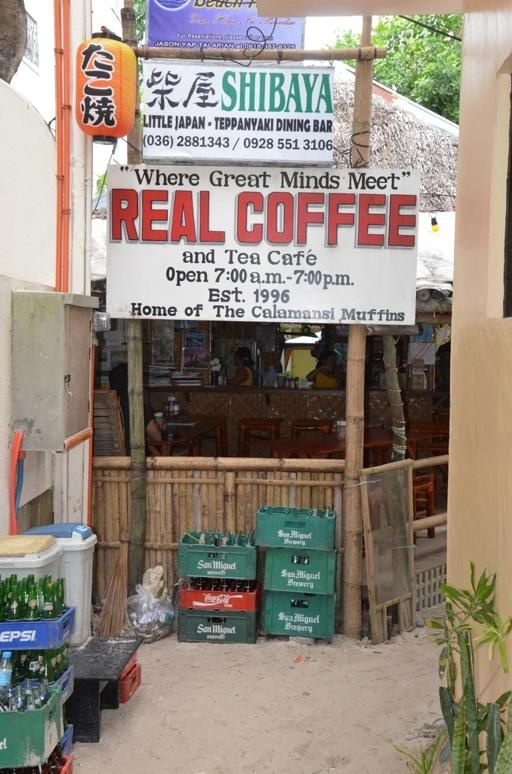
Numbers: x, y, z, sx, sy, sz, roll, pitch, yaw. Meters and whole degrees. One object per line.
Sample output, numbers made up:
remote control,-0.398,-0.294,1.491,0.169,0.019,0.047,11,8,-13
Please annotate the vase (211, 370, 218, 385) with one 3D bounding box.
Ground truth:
vase,-0.612,-0.151,11.791,0.116,0.183,0.273,0,5,-2

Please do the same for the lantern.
lantern,-1.056,-2.185,5.701,0.420,0.774,0.436,6,20,-10

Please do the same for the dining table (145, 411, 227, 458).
dining table,-0.796,0.544,8.992,0.494,0.335,1.350,0,4,-1

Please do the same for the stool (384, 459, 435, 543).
stool,1.839,1.215,8.707,0.554,1.033,0.562,-1,6,-34

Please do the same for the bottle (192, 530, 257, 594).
bottle,-0.254,1.390,6.348,0.525,0.399,0.379,0,5,-5

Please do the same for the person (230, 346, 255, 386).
person,-0.174,-0.310,11.409,0.320,0.523,0.813,1,5,0

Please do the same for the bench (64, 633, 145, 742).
bench,-0.947,1.842,4.880,0.398,0.451,0.624,0,5,-5

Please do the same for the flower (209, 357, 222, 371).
flower,-0.604,-0.348,12.022,0.159,0.188,0.323,2,5,16

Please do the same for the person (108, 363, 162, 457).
person,-1.343,0.196,8.774,0.567,1.155,0.546,1,6,1
